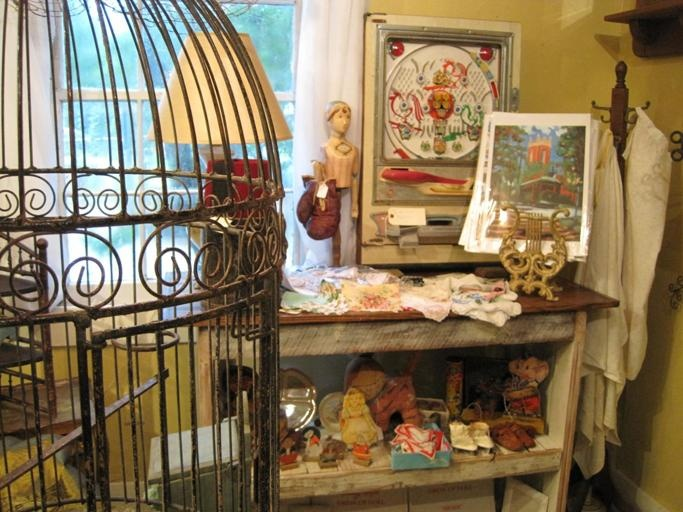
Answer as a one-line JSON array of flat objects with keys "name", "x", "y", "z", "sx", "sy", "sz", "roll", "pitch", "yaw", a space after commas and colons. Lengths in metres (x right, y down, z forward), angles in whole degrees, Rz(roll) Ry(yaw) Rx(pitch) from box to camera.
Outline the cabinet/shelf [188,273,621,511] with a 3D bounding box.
[{"name": "cabinet/shelf", "x": 0.378, "y": 0.377, "z": 2.927, "sx": 1.241, "sy": 1.250, "sz": 0.542, "roll": 0, "pitch": 6, "yaw": -7}]

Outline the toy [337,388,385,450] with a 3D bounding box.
[{"name": "toy", "x": 0.081, "y": 0.668, "z": 2.822, "sx": 0.220, "sy": 0.287, "sz": 0.143, "roll": -2, "pitch": -3, "yaw": -12}]
